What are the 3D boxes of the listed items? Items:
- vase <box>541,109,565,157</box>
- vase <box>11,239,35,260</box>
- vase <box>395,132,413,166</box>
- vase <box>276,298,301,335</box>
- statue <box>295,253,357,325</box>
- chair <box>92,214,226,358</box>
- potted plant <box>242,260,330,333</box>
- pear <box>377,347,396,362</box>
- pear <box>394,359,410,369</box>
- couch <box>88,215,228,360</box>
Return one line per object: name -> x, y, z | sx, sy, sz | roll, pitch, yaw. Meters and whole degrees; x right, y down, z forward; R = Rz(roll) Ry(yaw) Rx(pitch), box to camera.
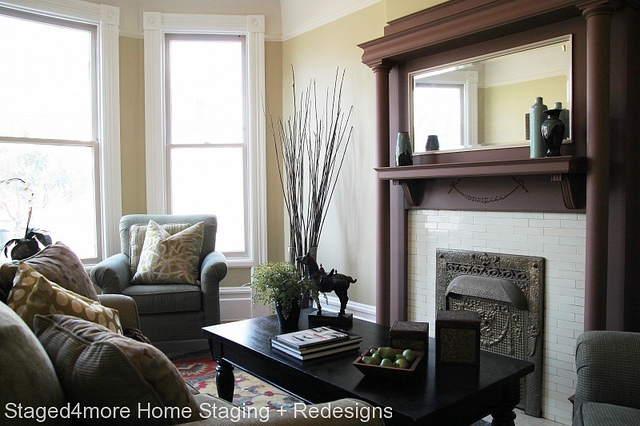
vase -> 1.486, -0.515, 3.044 | 0.134, 0.298, 0.097 | 2, 6, 25
vase -> -2.526, 0.306, 4.018 | 0.185, 0.161, 0.115 | 1, 6, 12
vase -> 0.666, -0.508, 3.754 | 0.129, 0.262, 0.196 | 0, 6, 10
vase -> -0.227, 0.636, 2.947 | 0.188, 0.211, 0.194 | 0, -6, -8
statue -> 0.057, 0.513, 3.177 | 0.425, 0.420, 0.166 | 0, 4, 26
chair -> -1.432, 0.657, 4.371 | 1.156, 1.270, 1.082 | 0, -1, -30
potted plant -> -0.234, 0.533, 3.115 | 0.438, 0.386, 0.439 | 6, -12, -33
pear -> 0.338, 0.705, 2.410 | 0.076, 0.049, 0.058 | 16, 12, 33
pear -> 0.399, 0.738, 2.335 | 0.052, 0.041, 0.040 | -11, -31, 32
couch -> -1.406, 0.643, 4.375 | 1.172, 1.234, 1.129 | 0, 0, 2
